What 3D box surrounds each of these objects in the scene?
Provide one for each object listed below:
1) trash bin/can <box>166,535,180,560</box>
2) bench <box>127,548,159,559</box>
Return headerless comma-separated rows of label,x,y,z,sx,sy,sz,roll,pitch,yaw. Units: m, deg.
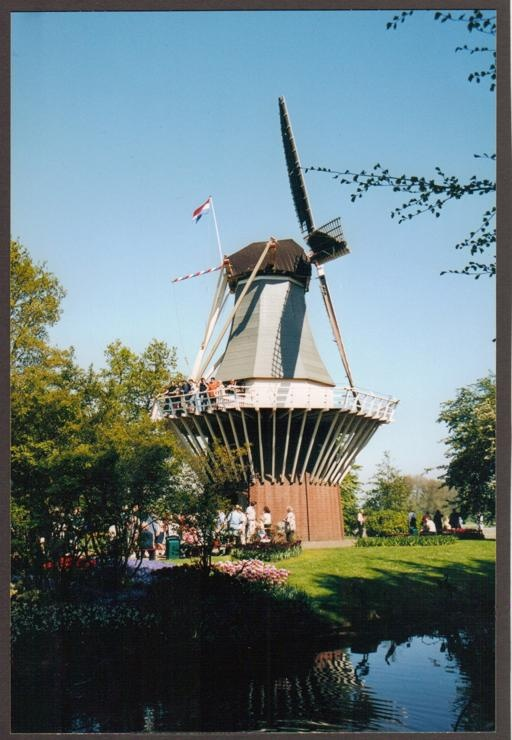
trash bin/can,-1.059,2.282,11.428,0.221,0.365,0.221,-2,-9,3
bench,-1.408,2.318,11.186,0.365,0.072,0.203,-1,13,-11
